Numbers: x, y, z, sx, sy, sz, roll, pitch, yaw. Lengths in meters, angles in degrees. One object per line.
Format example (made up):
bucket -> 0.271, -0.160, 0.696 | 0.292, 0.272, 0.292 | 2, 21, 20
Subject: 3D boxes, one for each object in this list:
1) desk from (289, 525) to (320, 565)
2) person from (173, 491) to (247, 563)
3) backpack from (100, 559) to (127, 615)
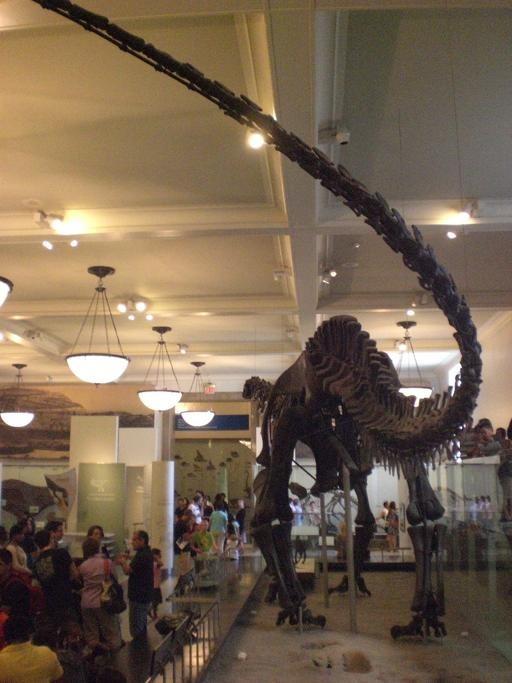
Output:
desk -> 0.725, 2.988, 9.064 | 0.416, 0.399, 2.239 | -1, -12, 4
person -> -0.858, 3.101, 10.053 | 1.045, 0.725, 1.729 | 0, -1, 2
backpack -> -1.141, 1.970, 4.910 | 0.185, 0.451, 0.279 | 3, -13, -13
